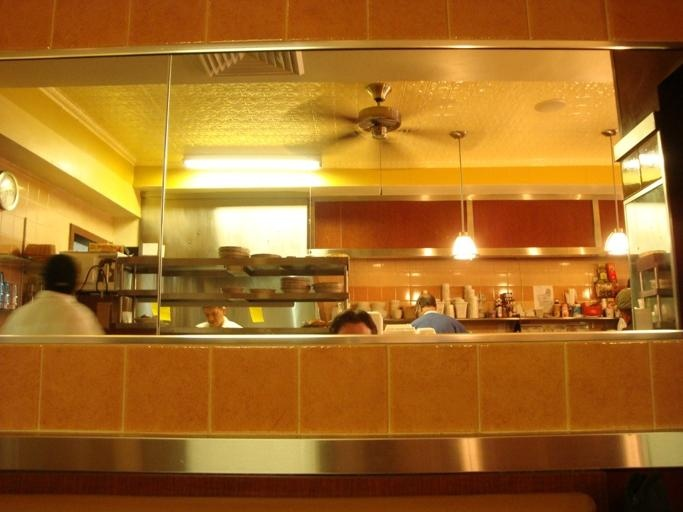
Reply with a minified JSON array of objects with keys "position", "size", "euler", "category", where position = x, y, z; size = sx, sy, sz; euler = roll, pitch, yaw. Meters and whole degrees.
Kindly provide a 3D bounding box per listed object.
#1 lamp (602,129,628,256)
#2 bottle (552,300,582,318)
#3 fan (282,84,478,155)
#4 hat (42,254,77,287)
[{"position":[2.524,-0.608,5.936],"size":[0.275,1.140,0.278],"euler":[-3,-8,15],"category":"lamp"},{"position":[2.430,0.600,6.893],"size":[0.242,0.168,0.136],"euler":[-1,-3,3],"category":"bottle"},{"position":[0.229,-1.192,5.873],"size":[1.417,0.552,1.686],"euler":[7,12,37],"category":"fan"},{"position":[-1.543,0.091,3.546],"size":[0.147,0.195,0.194],"euler":[-1,-15,-10],"category":"hat"}]
